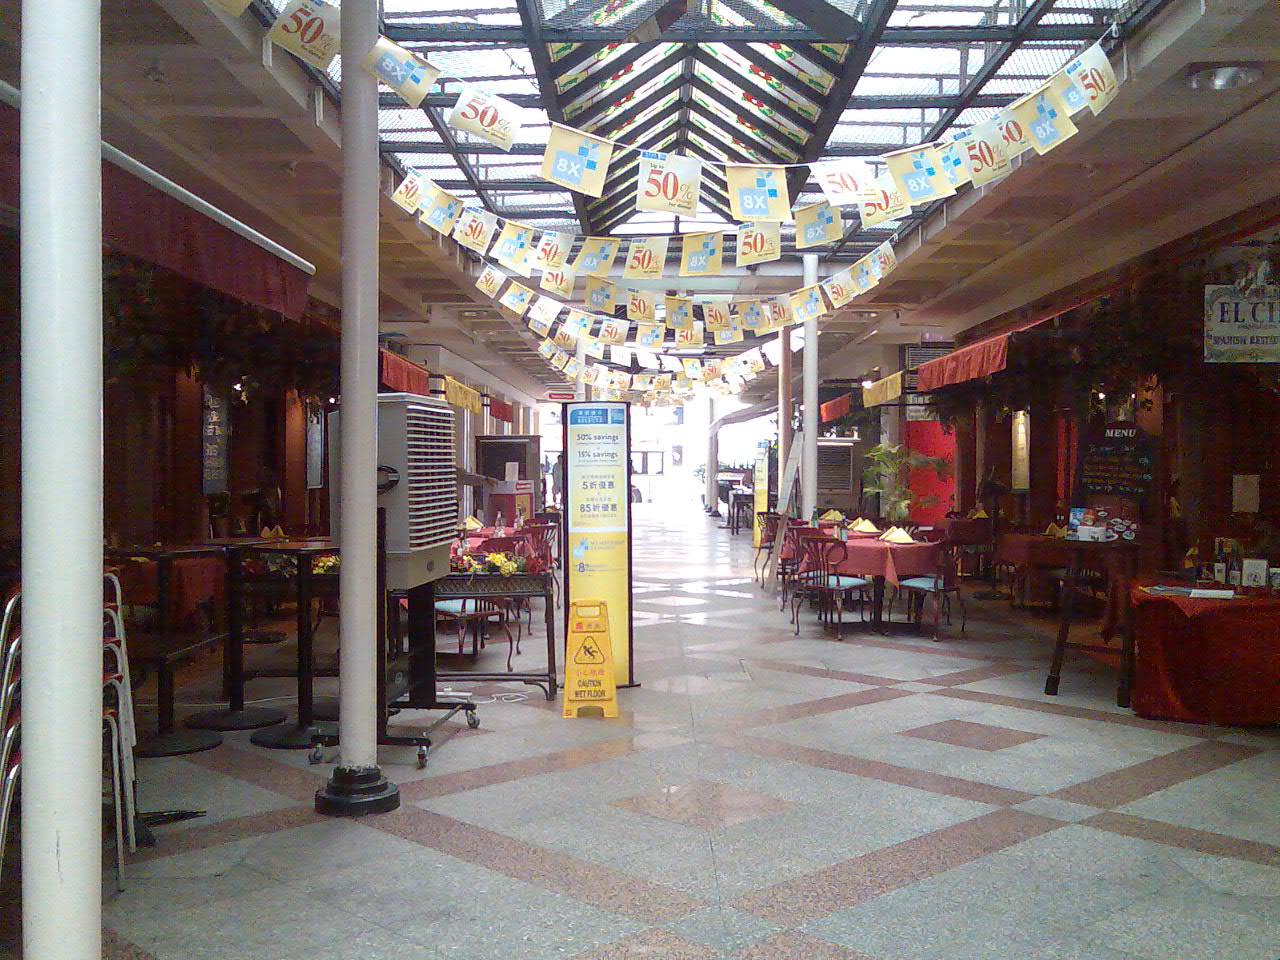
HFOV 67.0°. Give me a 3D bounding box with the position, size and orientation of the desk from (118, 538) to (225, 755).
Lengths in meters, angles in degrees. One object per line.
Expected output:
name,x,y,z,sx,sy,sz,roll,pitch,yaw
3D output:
desk,-3.331,1.184,6.899,0.727,1.065,1.178,1,3,-3

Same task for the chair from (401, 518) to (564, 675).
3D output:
chair,-1.210,1.076,8.047,1.147,0.769,1.543,1,1,3

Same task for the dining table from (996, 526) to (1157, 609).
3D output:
dining table,4.901,1.074,11.160,1.603,0.629,1.541,8,-7,-44

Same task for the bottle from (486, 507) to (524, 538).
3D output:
bottle,-1.966,0.619,14.264,0.379,0.346,0.361,0,-4,-2

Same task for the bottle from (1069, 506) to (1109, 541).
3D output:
bottle,3.952,0.398,8.522,0.337,0.148,0.469,2,9,19
